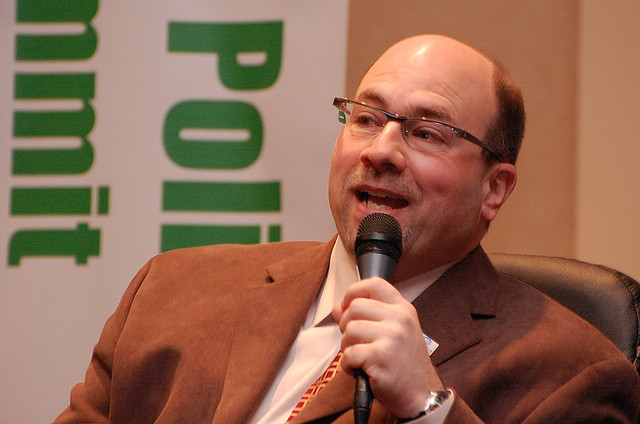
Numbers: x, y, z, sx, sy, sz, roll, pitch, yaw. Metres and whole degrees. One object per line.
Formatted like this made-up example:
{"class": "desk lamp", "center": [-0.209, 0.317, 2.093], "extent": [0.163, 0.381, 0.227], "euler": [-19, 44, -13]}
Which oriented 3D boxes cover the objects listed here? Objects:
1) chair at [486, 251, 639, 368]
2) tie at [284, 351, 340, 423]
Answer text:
{"class": "chair", "center": [0.876, 0.371, 2.622], "extent": [0.323, 0.467, 0.378], "euler": [-1, -34, 13]}
{"class": "tie", "center": [-0.021, 0.566, 2.318], "extent": [0.275, 0.011, 0.047], "euler": [-44, 32, 9]}
